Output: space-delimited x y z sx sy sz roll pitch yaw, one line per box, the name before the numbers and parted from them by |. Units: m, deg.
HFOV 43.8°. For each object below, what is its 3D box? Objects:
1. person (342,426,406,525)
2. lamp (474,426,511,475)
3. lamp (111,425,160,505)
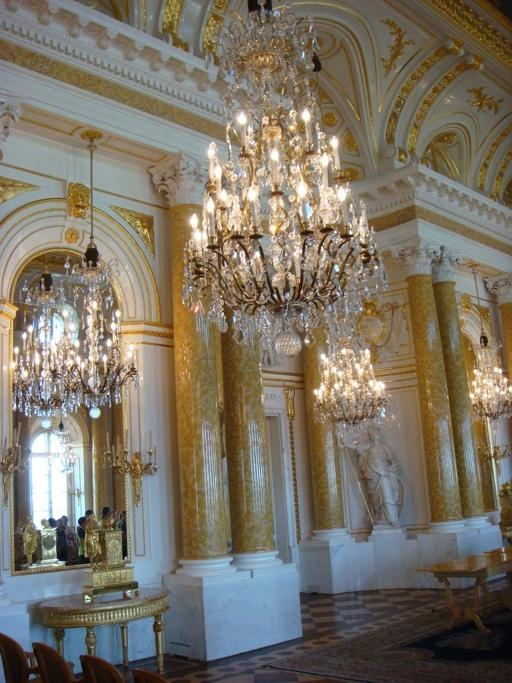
person | 1.802 2.086 9.852 0.754 1.528 0.361 -8 -11 12
lamp | 4.494 2.006 12.024 0.851 0.966 0.343 -2 -12 -20
lamp | -1.208 1.244 6.265 0.170 0.727 0.638 -31 -34 25
